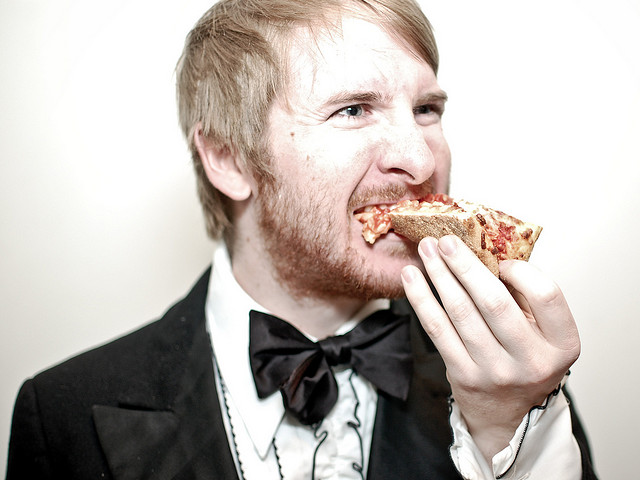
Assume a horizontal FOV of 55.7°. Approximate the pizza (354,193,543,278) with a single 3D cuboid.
[{"bbox_3d":[0.619,-0.029,2.966,0.843,0.351,0.330,7,12,36],"label":"pizza"}]
